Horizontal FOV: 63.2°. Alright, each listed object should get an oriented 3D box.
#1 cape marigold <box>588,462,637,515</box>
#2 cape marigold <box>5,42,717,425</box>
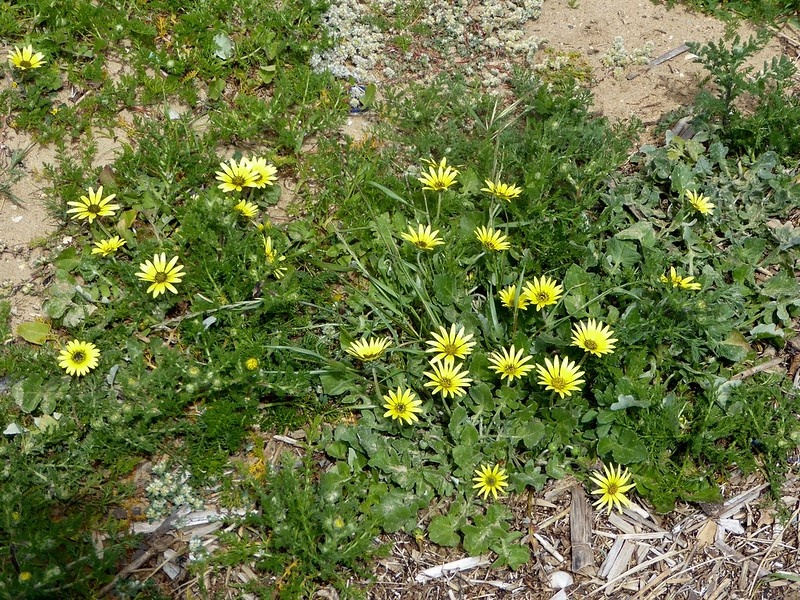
[{"bbox_3d":[1.105,0.997,3.366,0.179,0.037,0.186,21,7,-20],"label":"cape marigold"},{"bbox_3d":[-0.149,-0.274,3.835,3.965,1.291,2.325,-6,47,3],"label":"cape marigold"}]
